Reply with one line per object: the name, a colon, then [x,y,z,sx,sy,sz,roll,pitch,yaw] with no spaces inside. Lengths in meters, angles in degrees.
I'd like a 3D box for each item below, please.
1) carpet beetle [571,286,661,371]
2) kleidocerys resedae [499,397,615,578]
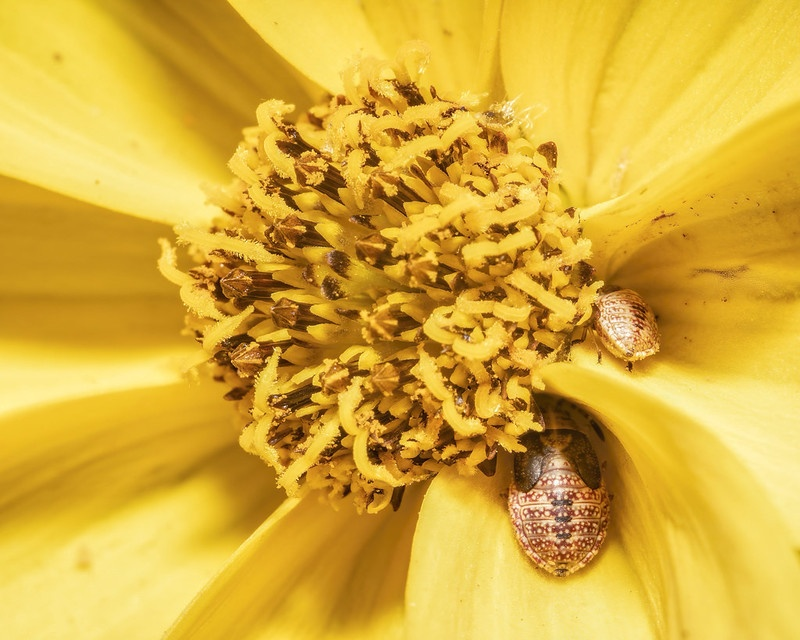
carpet beetle: [0.213,-0.005,0.703,0.093,0.089,0.030,-22,-24,-17]
kleidocerys resedae: [0.165,0.173,0.744,0.099,0.172,0.107,1,13,5]
